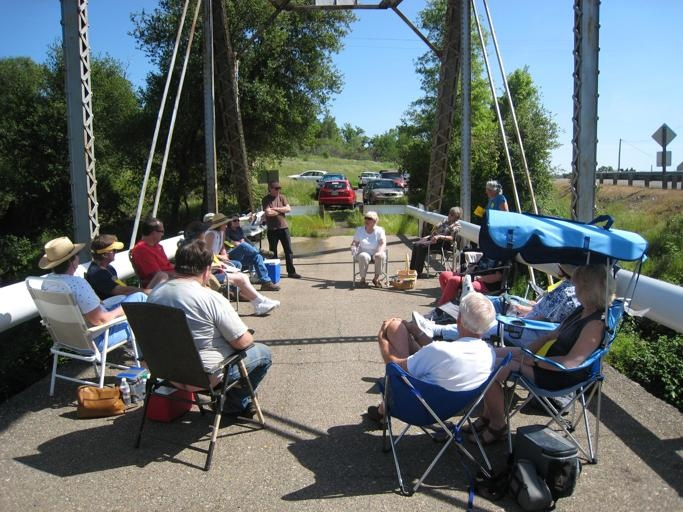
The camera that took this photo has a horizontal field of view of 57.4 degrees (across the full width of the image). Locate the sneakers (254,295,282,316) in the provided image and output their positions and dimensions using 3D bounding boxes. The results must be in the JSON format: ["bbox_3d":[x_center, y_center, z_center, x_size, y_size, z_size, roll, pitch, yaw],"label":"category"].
[{"bbox_3d":[-0.999,0.670,8.607,0.199,0.182,0.396,-4,10,22],"label":"sneakers"}]

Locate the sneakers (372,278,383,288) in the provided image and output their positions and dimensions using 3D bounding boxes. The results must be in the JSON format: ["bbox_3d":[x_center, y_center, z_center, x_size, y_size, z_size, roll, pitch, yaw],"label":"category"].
[{"bbox_3d":[0.600,0.447,10.690,0.115,0.140,0.344,-1,-7,-1],"label":"sneakers"}]

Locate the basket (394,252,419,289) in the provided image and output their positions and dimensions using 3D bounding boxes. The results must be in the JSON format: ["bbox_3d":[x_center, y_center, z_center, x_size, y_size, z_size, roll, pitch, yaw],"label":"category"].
[{"bbox_3d":[1.064,0.321,10.619,0.450,0.509,0.339,-2,8,-3],"label":"basket"}]

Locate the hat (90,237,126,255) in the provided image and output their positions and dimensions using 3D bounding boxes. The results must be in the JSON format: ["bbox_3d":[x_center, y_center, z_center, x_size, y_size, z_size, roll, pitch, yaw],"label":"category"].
[{"bbox_3d":[-2.476,-0.074,6.684,0.169,0.087,0.245,21,31,32],"label":"hat"}]

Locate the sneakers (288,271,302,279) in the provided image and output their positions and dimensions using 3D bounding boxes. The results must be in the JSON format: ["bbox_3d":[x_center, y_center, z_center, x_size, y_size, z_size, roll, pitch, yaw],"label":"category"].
[{"bbox_3d":[-0.880,0.336,11.575,0.240,0.114,0.102,0,7,2],"label":"sneakers"}]

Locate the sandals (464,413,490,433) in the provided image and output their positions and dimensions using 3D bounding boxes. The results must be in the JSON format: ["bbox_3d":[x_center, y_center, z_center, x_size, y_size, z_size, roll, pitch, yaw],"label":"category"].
[{"bbox_3d":[1.194,1.476,5.520,0.230,0.102,0.124,-1,5,7],"label":"sandals"}]

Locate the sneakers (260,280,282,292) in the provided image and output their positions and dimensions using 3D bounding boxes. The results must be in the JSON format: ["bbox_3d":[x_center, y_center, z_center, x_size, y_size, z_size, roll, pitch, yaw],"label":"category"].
[{"bbox_3d":[-1.192,0.493,10.465,0.346,0.275,0.131,-4,11,-6],"label":"sneakers"}]

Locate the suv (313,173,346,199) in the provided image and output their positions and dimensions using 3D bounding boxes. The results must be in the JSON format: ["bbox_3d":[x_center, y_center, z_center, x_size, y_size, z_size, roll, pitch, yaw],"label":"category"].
[{"bbox_3d":[-0.804,-4.317,37.235,1.333,1.102,2.111,-1,2,3],"label":"suv"}]

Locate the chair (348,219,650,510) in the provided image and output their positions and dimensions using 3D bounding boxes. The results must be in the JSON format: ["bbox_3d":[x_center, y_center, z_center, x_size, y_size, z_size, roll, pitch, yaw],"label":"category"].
[{"bbox_3d":[1.300,0.731,5.292,1.959,2.069,0.957,-3,11,-19],"label":"chair"}]

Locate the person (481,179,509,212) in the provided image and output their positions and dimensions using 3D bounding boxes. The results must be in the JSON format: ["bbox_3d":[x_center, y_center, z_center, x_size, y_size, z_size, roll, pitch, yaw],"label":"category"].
[{"bbox_3d":[2.354,-0.943,9.574,0.286,0.399,0.778,3,10,12],"label":"person"}]

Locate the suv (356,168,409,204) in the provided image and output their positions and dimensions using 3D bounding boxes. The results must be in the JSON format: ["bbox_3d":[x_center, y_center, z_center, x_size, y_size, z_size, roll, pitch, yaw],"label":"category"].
[{"bbox_3d":[2.072,-3.530,31.586,1.441,1.266,3.958,-2,3,-4],"label":"suv"}]

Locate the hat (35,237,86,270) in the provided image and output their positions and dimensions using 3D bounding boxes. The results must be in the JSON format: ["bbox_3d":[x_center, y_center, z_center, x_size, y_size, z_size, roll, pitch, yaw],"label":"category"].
[{"bbox_3d":[-2.852,-0.065,6.324,0.398,0.171,0.469,-21,20,17],"label":"hat"}]

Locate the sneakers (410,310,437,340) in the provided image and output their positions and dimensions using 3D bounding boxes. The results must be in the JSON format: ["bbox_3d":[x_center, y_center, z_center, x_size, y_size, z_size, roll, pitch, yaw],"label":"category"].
[{"bbox_3d":[0.814,0.669,6.298,0.262,0.102,0.266,36,19,-15],"label":"sneakers"}]

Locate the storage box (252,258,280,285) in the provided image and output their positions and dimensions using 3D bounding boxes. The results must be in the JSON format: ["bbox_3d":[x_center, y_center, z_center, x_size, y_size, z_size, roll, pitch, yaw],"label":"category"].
[{"bbox_3d":[-1.259,0.246,10.711,0.314,0.414,0.405,-3,3,3],"label":"storage box"}]

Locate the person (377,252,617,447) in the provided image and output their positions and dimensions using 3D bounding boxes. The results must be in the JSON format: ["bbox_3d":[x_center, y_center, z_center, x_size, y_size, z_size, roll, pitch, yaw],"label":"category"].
[{"bbox_3d":[1.265,0.834,5.641,2.095,1.676,1.150,-3,0,9],"label":"person"}]

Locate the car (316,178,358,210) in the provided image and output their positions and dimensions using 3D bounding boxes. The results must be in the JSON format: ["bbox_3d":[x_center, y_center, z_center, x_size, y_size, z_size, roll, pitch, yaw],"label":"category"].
[{"bbox_3d":[-0.193,-2.939,29.049,1.038,0.929,2.374,0,14,2],"label":"car"}]

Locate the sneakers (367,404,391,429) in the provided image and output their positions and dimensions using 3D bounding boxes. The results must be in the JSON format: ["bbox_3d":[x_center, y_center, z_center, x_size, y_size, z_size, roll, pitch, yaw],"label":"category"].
[{"bbox_3d":[0.331,1.465,5.674,0.101,0.135,0.314,-5,13,-14],"label":"sneakers"}]

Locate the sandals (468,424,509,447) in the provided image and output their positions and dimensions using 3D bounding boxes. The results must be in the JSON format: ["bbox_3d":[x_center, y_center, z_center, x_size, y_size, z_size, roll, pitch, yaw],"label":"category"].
[{"bbox_3d":[1.270,1.551,5.421,0.345,0.163,0.179,-2,9,6],"label":"sandals"}]
